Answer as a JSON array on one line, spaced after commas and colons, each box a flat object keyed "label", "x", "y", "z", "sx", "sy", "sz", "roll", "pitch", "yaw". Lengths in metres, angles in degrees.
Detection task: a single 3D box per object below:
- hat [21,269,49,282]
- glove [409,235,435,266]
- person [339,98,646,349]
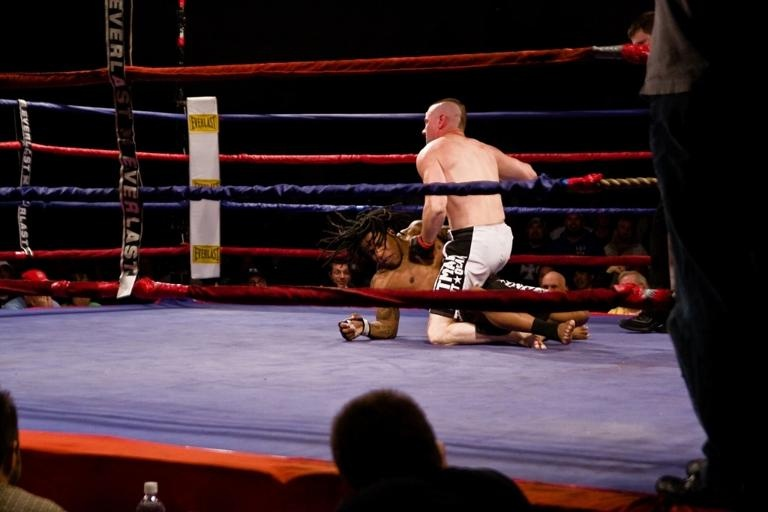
[{"label": "hat", "x": -2.441, "y": 0.135, "z": 4.934, "sx": 0.153, "sy": 0.059, "sz": 0.084, "roll": 1, "pitch": 3, "yaw": 3}, {"label": "glove", "x": 0.265, "y": -0.026, "z": 4.066, "sx": 0.214, "sy": 0.162, "sz": 0.119, "roll": 3, "pitch": 3, "yaw": 20}, {"label": "person", "x": 0.385, "y": -0.172, "z": 3.906, "sx": 1.322, "sy": 1.375, "sz": 0.814, "roll": 7, "pitch": 16, "yaw": 26}]
